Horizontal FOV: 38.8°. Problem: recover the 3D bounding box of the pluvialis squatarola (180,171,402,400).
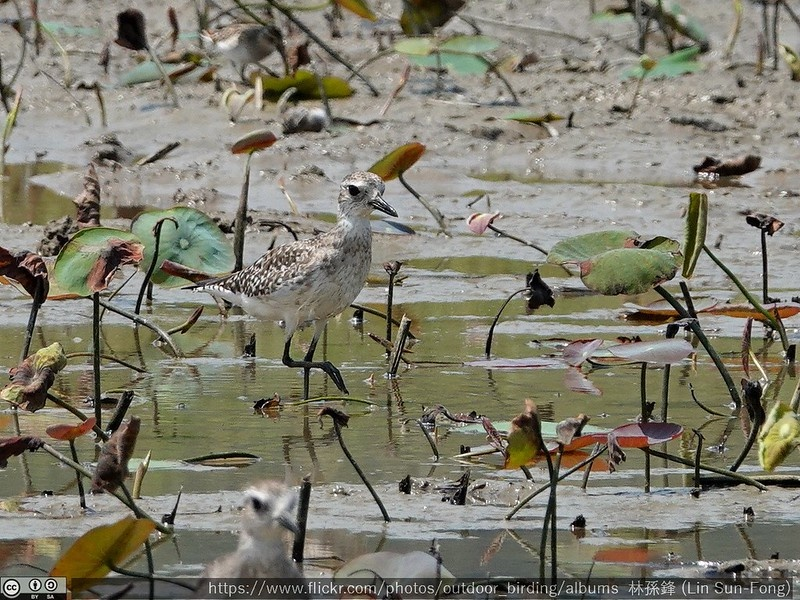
[{"bbox_3d":[-0.567,-0.120,7.627,0.892,1.257,1.753,0,-1,-42],"label":"pluvialis squatarola"}]
